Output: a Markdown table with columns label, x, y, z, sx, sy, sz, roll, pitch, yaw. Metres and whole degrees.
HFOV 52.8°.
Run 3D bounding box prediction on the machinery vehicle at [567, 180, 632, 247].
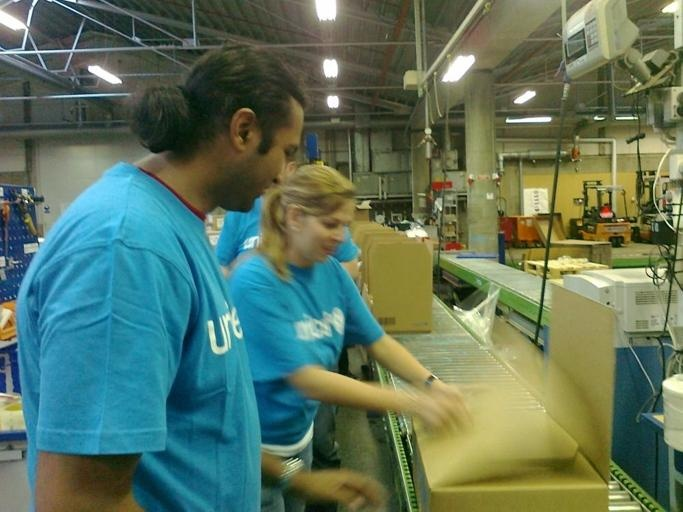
| label | x | y | z | sx | sy | sz | roll | pitch | yaw |
| --- | --- | --- | --- | --- | --- | --- | --- | --- | --- |
| machinery vehicle | 3.703 | -0.566 | 9.729 | 1.043 | 0.857 | 1.025 | -4 | 6 | -31 |

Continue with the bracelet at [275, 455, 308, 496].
| label | x | y | z | sx | sy | sz | roll | pitch | yaw |
| --- | --- | --- | --- | --- | --- | --- | --- | --- | --- |
| bracelet | -0.191 | 0.795 | 2.500 | 0.092 | 0.030 | 0.102 | -4 | 46 | -4 |

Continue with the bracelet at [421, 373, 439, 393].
| label | x | y | z | sx | sy | sz | roll | pitch | yaw |
| --- | --- | --- | --- | --- | --- | --- | --- | --- | --- |
| bracelet | 0.336 | 0.485 | 2.649 | 0.035 | 0.055 | 0.058 | 24 | 28 | 16 |
